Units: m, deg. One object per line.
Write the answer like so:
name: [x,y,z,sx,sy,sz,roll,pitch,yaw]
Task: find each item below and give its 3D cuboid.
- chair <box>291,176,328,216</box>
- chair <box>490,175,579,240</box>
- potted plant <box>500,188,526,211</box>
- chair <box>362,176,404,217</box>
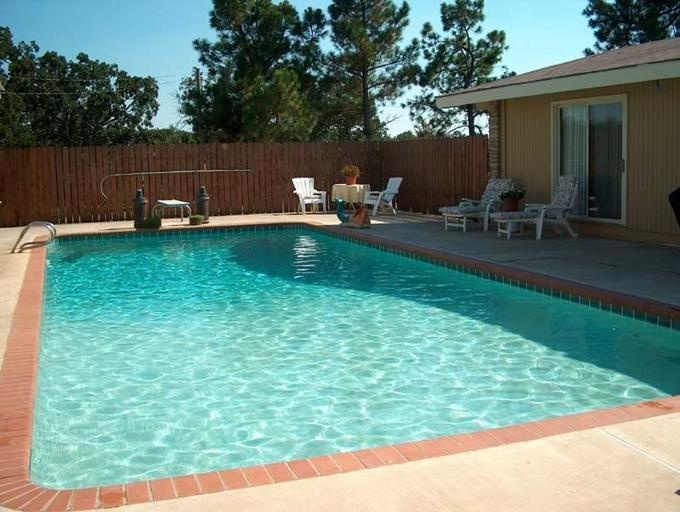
chair: [-1.096,-2.209,16.142,0.985,1.050,1.145,-7,17,-23]
chair: [4.150,-1.087,10.104,1.675,1.142,0.865,-5,10,-6]
potted plant: [4.005,-1.404,11.095,0.770,0.628,0.601,3,11,19]
chair: [1.487,-2.054,15.341,1.604,1.462,1.146,-11,16,-23]
